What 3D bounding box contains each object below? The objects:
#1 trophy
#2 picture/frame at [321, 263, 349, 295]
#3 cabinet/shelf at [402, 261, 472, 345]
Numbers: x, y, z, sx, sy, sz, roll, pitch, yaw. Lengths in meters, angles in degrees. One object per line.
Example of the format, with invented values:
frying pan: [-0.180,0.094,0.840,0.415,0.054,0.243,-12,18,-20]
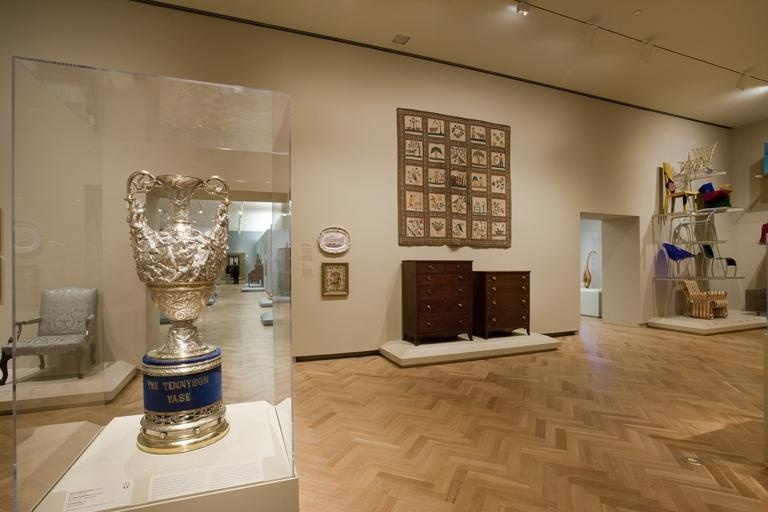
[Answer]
trophy: [-1.609,0.409,4.040,0.764,2.083,0.734,-1,1,-33]
picture/frame: [-0.731,0.316,7.234,0.433,0.518,0.038,0,-1,-28]
cabinet/shelf: [0.734,0.632,7.545,1.065,1.380,0.769,0,0,-21]
